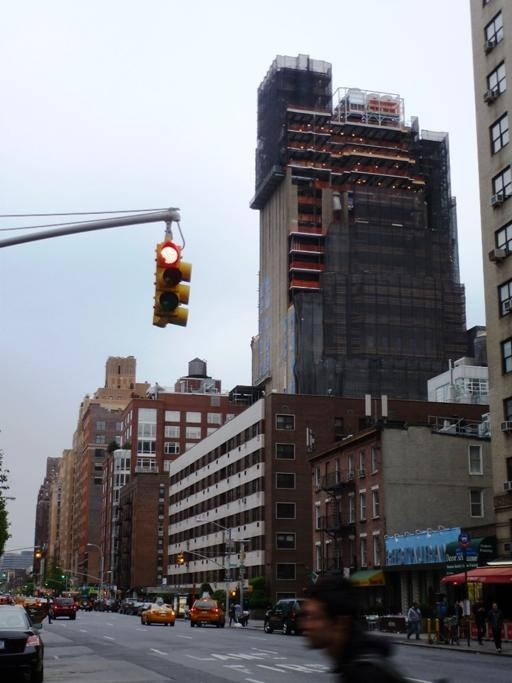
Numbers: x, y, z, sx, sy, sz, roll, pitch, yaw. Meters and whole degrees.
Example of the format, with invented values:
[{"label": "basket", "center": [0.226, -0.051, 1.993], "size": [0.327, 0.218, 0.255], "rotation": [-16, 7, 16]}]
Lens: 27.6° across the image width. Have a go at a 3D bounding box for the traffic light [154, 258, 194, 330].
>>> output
[{"label": "traffic light", "center": [-1.212, -0.672, 14.758], "size": [0.565, 0.886, 0.513], "rotation": [3, -30, 4]}]
